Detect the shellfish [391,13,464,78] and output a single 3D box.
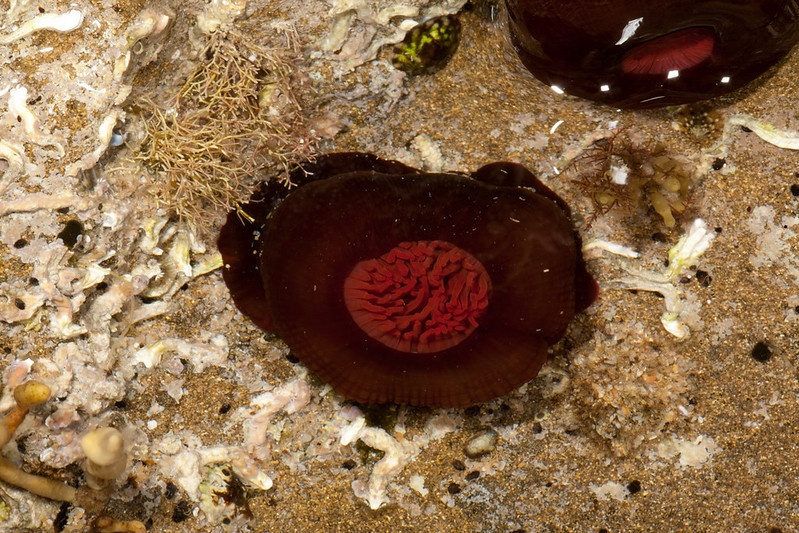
[{"bbox_3d":[0.202,-1.547,6.228,0.550,0.208,0.283,-29,82,-1],"label":"shellfish"}]
